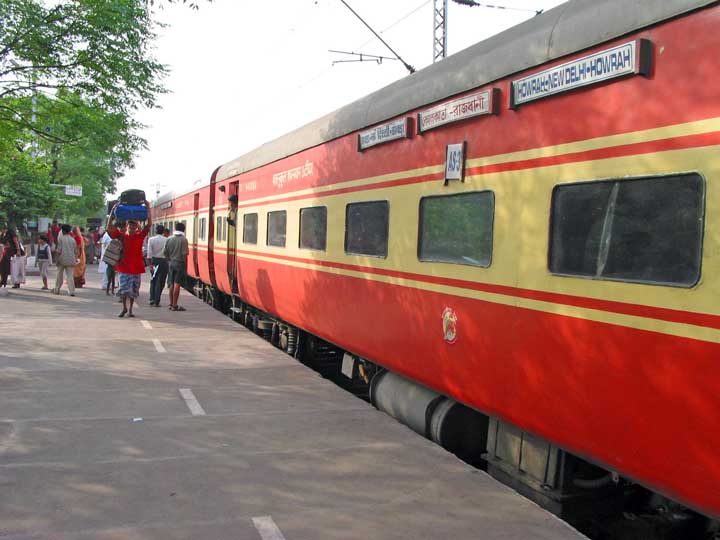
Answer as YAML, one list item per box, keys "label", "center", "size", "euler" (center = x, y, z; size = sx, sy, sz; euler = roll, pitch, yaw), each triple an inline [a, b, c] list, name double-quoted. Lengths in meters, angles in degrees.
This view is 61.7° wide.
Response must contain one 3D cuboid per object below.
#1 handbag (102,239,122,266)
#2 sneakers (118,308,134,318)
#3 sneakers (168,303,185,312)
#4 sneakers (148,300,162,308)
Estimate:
- label: "handbag"
  center: [-5.597, -0.350, 12.781]
  size: [0.280, 0.615, 0.928]
  euler: [-1, 4, -33]
- label: "sneakers"
  center: [-5.263, 0.923, 12.749]
  size: [0.158, 0.207, 0.474]
  euler: [0, -5, 33]
- label: "sneakers"
  center: [-4.621, 0.899, 14.210]
  size: [0.183, 0.158, 0.351]
  euler: [-1, -2, -40]
- label: "sneakers"
  center: [-5.374, 0.848, 14.805]
  size: [0.337, 0.155, 0.119]
  euler: [-6, 8, 13]
